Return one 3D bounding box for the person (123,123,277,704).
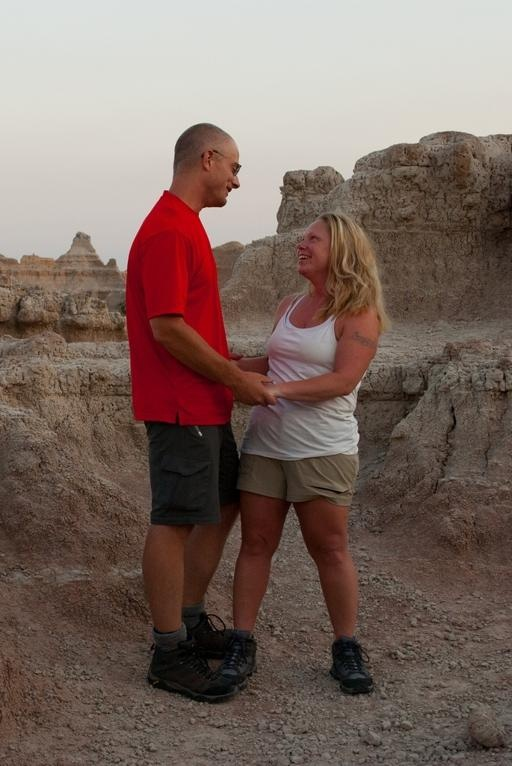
[{"bbox_3d":[-0.203,0.095,2.895,0.489,2.016,0.442,0,7,-12],"label":"person"}]

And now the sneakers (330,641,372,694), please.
[{"bbox_3d":[0.367,1.037,3.024,0.149,0.178,0.215,1,5,-1],"label":"sneakers"}]

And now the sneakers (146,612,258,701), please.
[{"bbox_3d":[-0.193,0.998,2.913,0.284,0.151,0.313,8,-1,2],"label":"sneakers"}]
